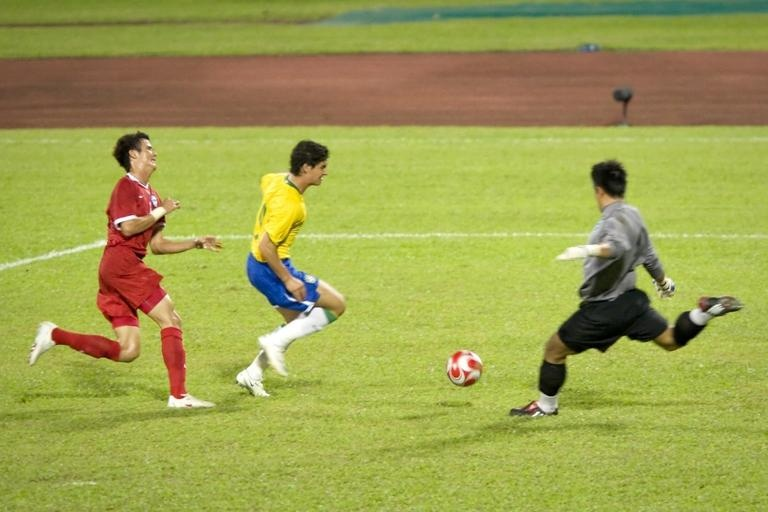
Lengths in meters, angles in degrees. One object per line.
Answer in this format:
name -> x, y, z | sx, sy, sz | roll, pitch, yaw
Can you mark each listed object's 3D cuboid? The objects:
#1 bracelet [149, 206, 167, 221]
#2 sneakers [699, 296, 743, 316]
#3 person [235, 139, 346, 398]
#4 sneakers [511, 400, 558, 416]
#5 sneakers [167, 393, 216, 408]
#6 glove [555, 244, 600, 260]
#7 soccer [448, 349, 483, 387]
bracelet -> -2.318, -0.447, 11.245 | 0.108, 0.077, 0.195 | 40, -24, -18
sneakers -> 3.289, 0.484, 10.746 | 0.376, 0.121, 0.196 | -4, -2, -1
person -> -1.019, 0.125, 11.414 | 1.023, 2.638, 0.622 | -5, 16, -27
sneakers -> 1.498, 1.547, 11.186 | 0.512, 0.156, 0.165 | 3, -10, 2
sneakers -> -1.996, 1.476, 11.336 | 0.500, 0.152, 0.161 | 0, -2, -6
glove -> 1.854, -0.037, 10.518 | 0.503, 0.126, 0.164 | 5, -4, -38
soccer -> 0.822, 1.179, 11.433 | 0.370, 0.414, 0.251 | 8, 14, 21
